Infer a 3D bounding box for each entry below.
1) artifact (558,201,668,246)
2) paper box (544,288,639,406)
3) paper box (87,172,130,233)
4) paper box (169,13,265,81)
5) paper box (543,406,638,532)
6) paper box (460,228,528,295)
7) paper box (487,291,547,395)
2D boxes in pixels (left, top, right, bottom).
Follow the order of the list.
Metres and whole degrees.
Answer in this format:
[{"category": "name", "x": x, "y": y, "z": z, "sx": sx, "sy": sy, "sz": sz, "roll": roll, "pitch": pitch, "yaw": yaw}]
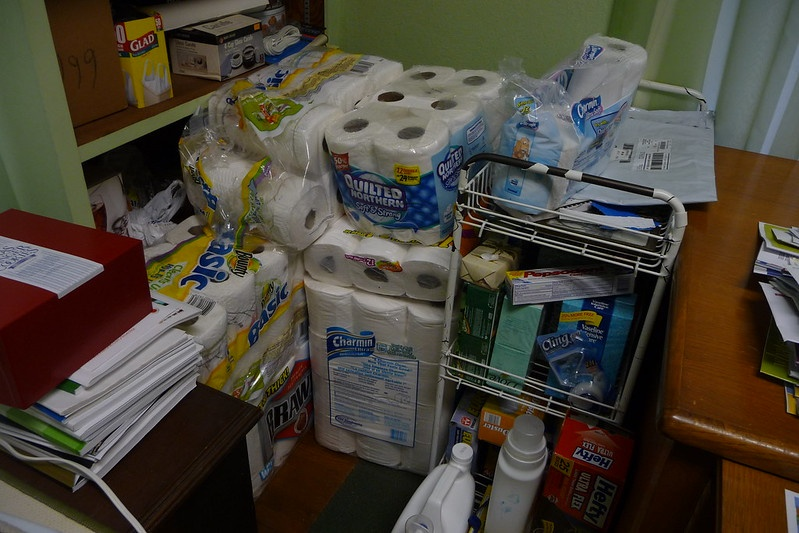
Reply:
[{"category": "artifact", "x": 0.451, "y": -0.103, "z": 1.186, "sx": 0.148, "sy": 0.036, "sz": 0.114, "roll": 20, "pitch": 39, "yaw": 18}, {"category": "paper box", "x": 0.443, "y": 0.189, "z": 1.333, "sx": 0.191, "sy": 0.331, "sz": 0.115, "roll": -2, "pitch": 31, "yaw": 3}, {"category": "paper box", "x": -0.795, "y": -0.187, "z": 1.509, "sx": 0.047, "sy": 0.135, "sz": 0.134, "roll": 7, "pitch": 5, "yaw": -2}, {"category": "paper box", "x": -0.533, "y": -0.639, "z": 1.660, "sx": 0.230, "sy": 0.152, "sz": 0.236, "roll": 26, "pitch": 44, "yaw": 35}, {"category": "paper box", "x": 0.430, "y": 0.467, "z": 1.213, "sx": 0.159, "sy": 0.279, "sz": 0.154, "roll": 21, "pitch": 36, "yaw": 12}, {"category": "paper box", "x": 0.221, "y": -0.036, "z": 1.344, "sx": 0.105, "sy": 0.057, "sz": 0.152, "roll": -8, "pitch": 46, "yaw": 47}, {"category": "paper box", "x": 0.280, "y": 0.179, "z": 1.307, "sx": 0.065, "sy": 0.179, "sz": 0.197, "roll": 13, "pitch": 56, "yaw": 11}]
